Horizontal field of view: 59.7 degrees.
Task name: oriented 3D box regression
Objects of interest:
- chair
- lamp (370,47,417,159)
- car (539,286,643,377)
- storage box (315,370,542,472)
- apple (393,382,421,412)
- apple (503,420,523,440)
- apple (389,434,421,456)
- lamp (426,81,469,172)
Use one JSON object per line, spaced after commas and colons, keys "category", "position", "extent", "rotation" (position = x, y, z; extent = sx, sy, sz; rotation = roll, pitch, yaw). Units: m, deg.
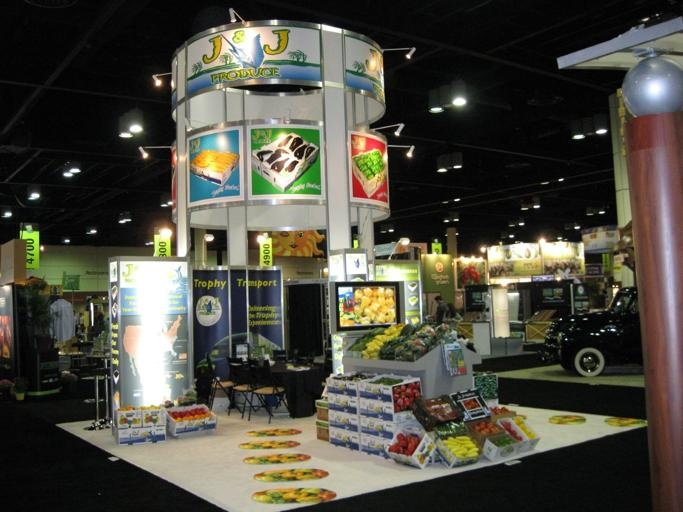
{"category": "chair", "position": [-1.423, 2.083, 9.177], "extent": [0.394, 0.631, 1.014], "rotation": [-3, 2, -40]}
{"category": "lamp", "position": [0.892, -2.711, 10.340], "extent": [0.674, 1.719, 1.772], "rotation": [-2, 3, -4]}
{"category": "car", "position": [4.779, 1.501, 11.340], "extent": [2.828, 1.425, 1.509], "rotation": [0, -4, 7]}
{"category": "storage box", "position": [0.835, 1.813, 6.470], "extent": [1.616, 0.513, 1.135], "rotation": [0, -2, 35]}
{"category": "apple", "position": [0.721, 1.514, 6.338], "extent": [0.360, 0.304, 0.131], "rotation": [-1, -5, -28]}
{"category": "apple", "position": [1.832, 1.886, 6.401], "extent": [0.144, 0.054, 0.181], "rotation": [26, 10, -48]}
{"category": "apple", "position": [0.667, 1.958, 6.170], "extent": [0.351, 0.169, 0.272], "rotation": [-5, -4, 35]}
{"category": "lamp", "position": [2.158, -2.658, 12.129], "extent": [0.268, 1.532, 0.874], "rotation": [7, -10, -40]}
